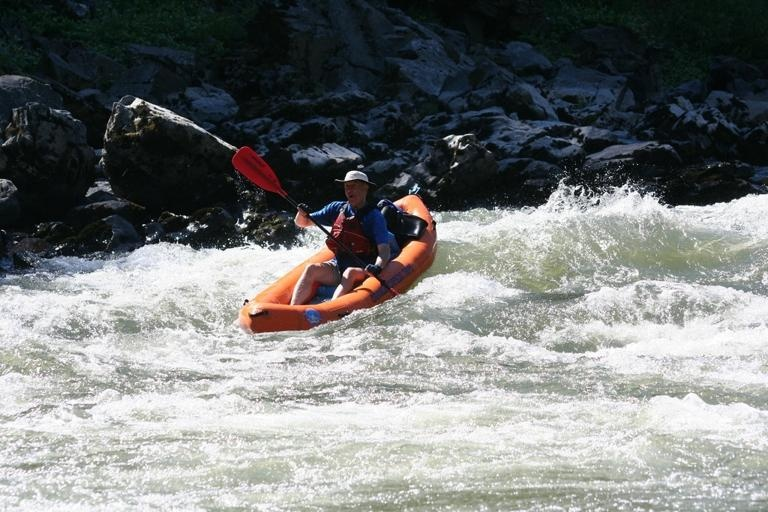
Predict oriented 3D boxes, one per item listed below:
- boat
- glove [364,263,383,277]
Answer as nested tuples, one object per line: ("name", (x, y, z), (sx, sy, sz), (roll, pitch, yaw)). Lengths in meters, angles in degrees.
("boat", (-0.677, 0.341, 23.418), (2.163, 0.955, 4.398), (12, 36, 37))
("glove", (-0.182, 0.250, 22.807), (0.316, 0.203, 0.171), (-1, 9, -8))
